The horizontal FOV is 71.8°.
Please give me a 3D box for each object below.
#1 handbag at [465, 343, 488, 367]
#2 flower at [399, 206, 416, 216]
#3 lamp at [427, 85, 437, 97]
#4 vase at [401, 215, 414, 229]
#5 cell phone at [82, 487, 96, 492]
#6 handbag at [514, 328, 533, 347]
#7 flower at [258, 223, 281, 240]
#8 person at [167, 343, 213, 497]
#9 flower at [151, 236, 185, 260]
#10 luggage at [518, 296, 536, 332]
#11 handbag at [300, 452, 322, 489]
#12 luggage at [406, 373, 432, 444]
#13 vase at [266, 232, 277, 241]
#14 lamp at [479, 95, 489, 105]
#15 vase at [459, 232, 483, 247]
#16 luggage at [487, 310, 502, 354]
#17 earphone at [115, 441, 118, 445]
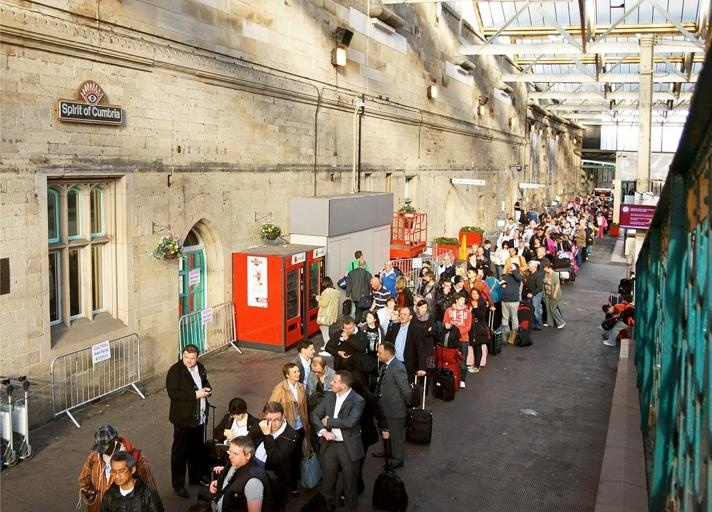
[{"bbox_3d":[2.953,2.462,12.054,0.584,0.624,0.598,0,2,14],"label":"handbag"},{"bbox_3d":[2.444,-2.113,23.016,0.488,0.346,0.515,1,11,-2],"label":"flower"},{"bbox_3d":[3.979,-8.627,25.758,0.343,0.656,0.707,2,6,29],"label":"lamp"},{"bbox_3d":[2.500,-1.647,22.907,0.550,0.611,1.062,-6,4,18],"label":"vase"},{"bbox_3d":[-2.762,2.411,5.090,0.059,0.019,0.062,-1,0,21],"label":"cell phone"},{"bbox_3d":[4.768,2.316,14.054,0.456,0.514,0.249,0,-9,-16],"label":"handbag"},{"bbox_3d":[-2.491,-0.697,14.552,0.441,0.346,0.479,1,1,-1],"label":"flower"},{"bbox_3d":[-2.318,2.369,6.883,0.546,2.011,0.434,-2,8,-20],"label":"person"},{"bbox_3d":[-4.231,-0.161,11.282,0.341,0.594,0.800,5,9,26],"label":"flower"},{"bbox_3d":[4.949,1.800,14.429,0.564,1.027,0.705,-1,10,2],"label":"luggage"},{"bbox_3d":[-0.592,2.974,6.892,0.202,0.426,0.349,8,10,39],"label":"handbag"},{"bbox_3d":[1.145,2.709,8.760,0.466,1.219,0.428,3,-8,-12],"label":"luggage"},{"bbox_3d":[-2.431,-0.573,14.433,0.204,0.170,0.230,0,-1,-1],"label":"vase"},{"bbox_3d":[8.713,-10.588,33.474,0.809,0.596,0.661,3,4,42],"label":"lamp"},{"bbox_3d":[6.335,-0.957,27.165,1.396,1.114,0.983,1,1,16],"label":"vase"},{"bbox_3d":[3.797,2.036,13.331,0.412,1.184,0.261,0,3,-41],"label":"luggage"},{"bbox_3d":[-2.449,1.911,5.044,0.014,0.026,0.025,-3,4,1],"label":"earphone"}]
